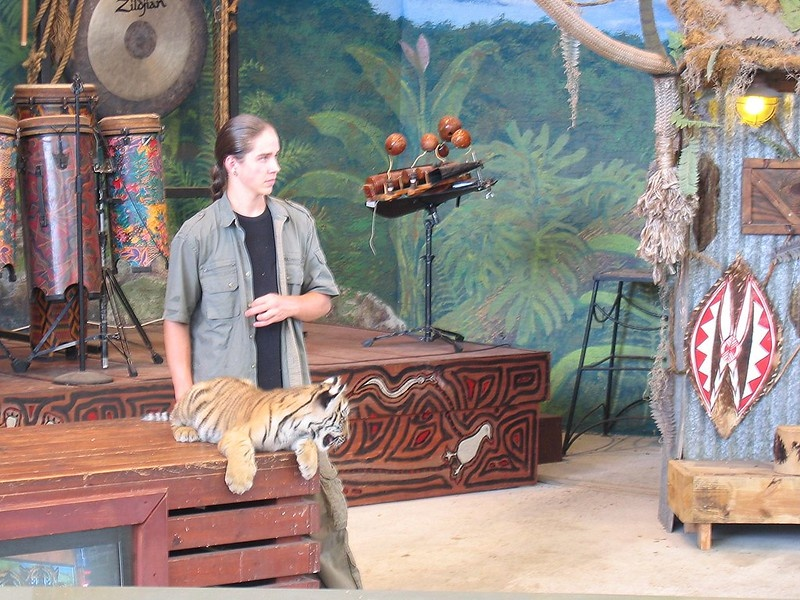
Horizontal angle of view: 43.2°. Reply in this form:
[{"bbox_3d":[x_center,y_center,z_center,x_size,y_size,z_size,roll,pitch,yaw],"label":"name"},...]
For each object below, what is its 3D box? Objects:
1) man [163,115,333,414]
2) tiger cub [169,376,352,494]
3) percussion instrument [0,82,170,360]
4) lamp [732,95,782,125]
[{"bbox_3d":[-0.501,-0.156,3.413,0.600,0.920,0.260,-4,9,-21],"label":"man"},{"bbox_3d":[-0.484,0.359,3.082,0.416,0.246,0.655,-9,19,-44],"label":"tiger cub"},{"bbox_3d":[-1.631,-0.387,5.237,0.762,1.464,0.957,-1,8,-3],"label":"percussion instrument"},{"bbox_3d":[1.668,-0.888,4.669,0.173,0.107,0.157,0,3,-1],"label":"lamp"}]
